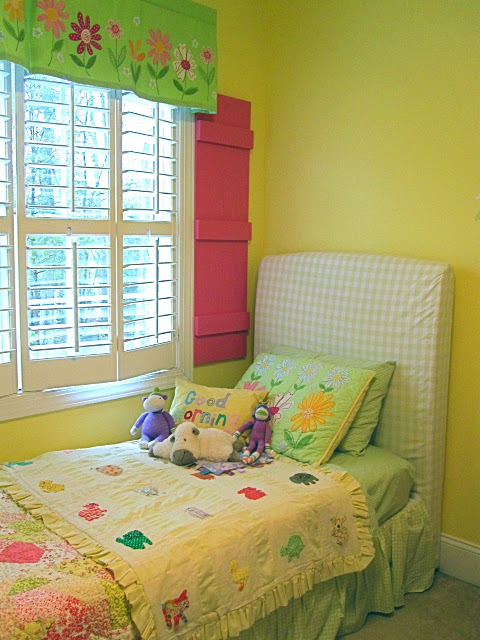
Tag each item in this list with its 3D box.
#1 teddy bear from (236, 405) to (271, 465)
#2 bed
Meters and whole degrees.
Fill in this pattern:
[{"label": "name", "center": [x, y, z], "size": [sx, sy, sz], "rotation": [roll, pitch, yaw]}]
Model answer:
[{"label": "teddy bear", "center": [0.047, 0.419, 1.986], "size": [0.122, 0.169, 0.254], "rotation": [4, 5, 10]}, {"label": "bed", "center": [-0.080, 0.410, 2.268], "size": [1.407, 1.327, 1.389], "rotation": [-3, 4, -36]}]
